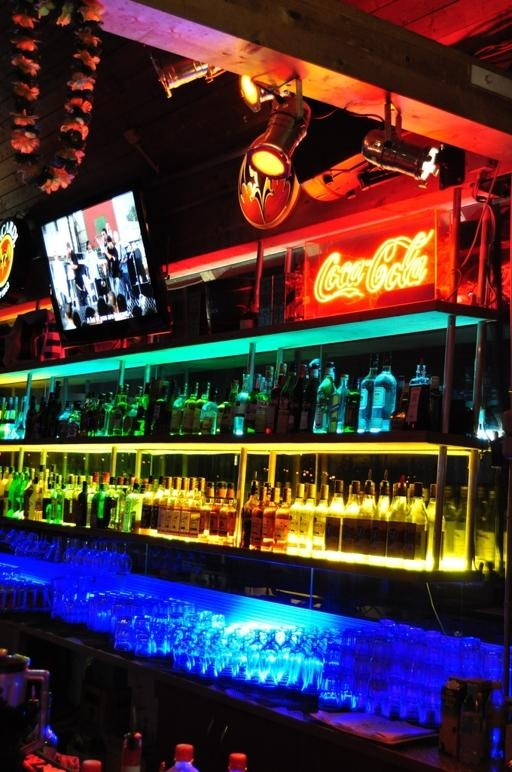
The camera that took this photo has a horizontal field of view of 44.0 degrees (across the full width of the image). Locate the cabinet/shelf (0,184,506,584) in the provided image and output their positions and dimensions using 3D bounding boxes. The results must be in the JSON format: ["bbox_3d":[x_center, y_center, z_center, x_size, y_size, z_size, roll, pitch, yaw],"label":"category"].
[{"bbox_3d":[-0.171,0.024,3.132,0.718,1.548,2.846,5,-5,-42],"label":"cabinet/shelf"}]

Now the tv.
[{"bbox_3d":[-0.924,-0.709,3.873,1.117,0.848,0.134,-1,10,44],"label":"tv"}]
